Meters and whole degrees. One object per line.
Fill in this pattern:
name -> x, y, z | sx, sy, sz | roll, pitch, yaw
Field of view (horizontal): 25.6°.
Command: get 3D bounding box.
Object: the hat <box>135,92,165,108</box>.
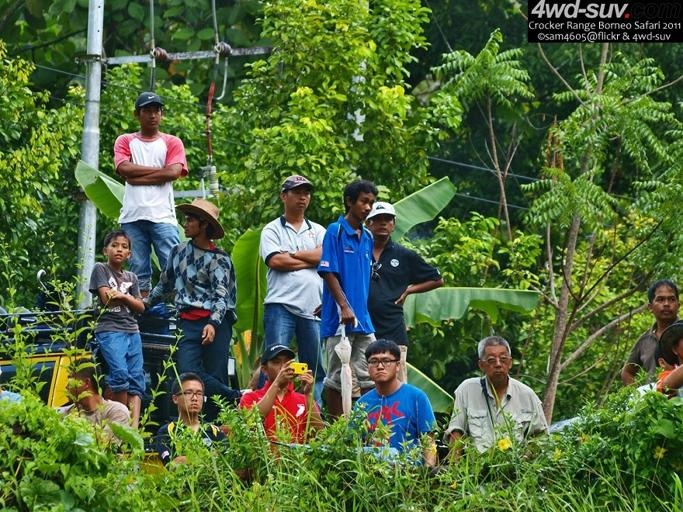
hat -> -2.359, -1.908, 18.350 | 0.316, 0.220, 0.343 | 2, 1, -5

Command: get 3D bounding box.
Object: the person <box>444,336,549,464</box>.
person -> 1.619, 1.441, 16.258 | 1.220, 2.083, 1.108 | 1, -21, 2

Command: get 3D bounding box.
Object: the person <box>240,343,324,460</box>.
person -> -0.664, 1.471, 16.269 | 0.889, 0.990, 1.801 | 2, 1, -4

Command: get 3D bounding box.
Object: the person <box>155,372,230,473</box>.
person -> -1.630, 1.690, 16.158 | 0.864, 1.062, 0.843 | 4, -14, -27

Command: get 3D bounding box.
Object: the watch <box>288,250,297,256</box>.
watch -> -0.587, -0.052, 17.486 | 0.066, 0.064, 0.043 | 5, 5, -26

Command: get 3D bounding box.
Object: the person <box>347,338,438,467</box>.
person -> 0.499, 1.594, 16.267 | 0.632, 0.971, 0.566 | -28, -50, 19

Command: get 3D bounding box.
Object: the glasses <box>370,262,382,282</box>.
glasses -> 0.381, 0.163, 17.476 | 0.144, 0.297, 0.163 | 3, -5, 0

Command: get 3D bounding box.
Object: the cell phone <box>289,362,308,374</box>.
cell phone -> -0.471, 1.173, 16.059 | 0.195, 0.126, 0.145 | 2, 1, -4

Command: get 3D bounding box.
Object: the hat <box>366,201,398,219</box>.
hat -> 0.444, -0.552, 17.563 | 0.198, 0.148, 0.267 | -2, -23, -3
